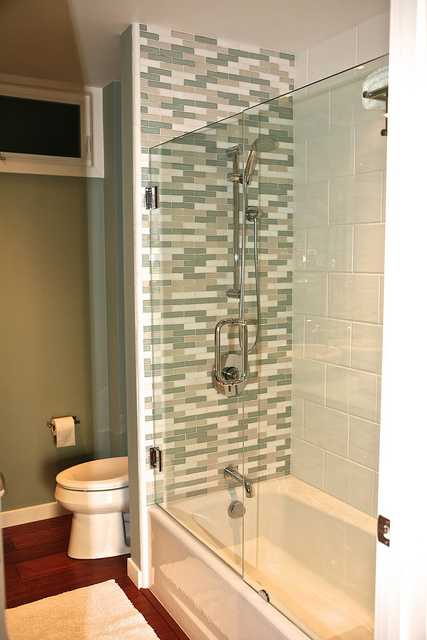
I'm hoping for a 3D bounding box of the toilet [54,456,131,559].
[{"bbox_3d":[-0.636,0.979,2.677,0.451,0.374,0.401,1,-3,-29],"label":"toilet"}]

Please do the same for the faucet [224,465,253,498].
[{"bbox_3d":[0.080,0.527,1.647,0.037,0.049,0.116,0,11,-22],"label":"faucet"}]
